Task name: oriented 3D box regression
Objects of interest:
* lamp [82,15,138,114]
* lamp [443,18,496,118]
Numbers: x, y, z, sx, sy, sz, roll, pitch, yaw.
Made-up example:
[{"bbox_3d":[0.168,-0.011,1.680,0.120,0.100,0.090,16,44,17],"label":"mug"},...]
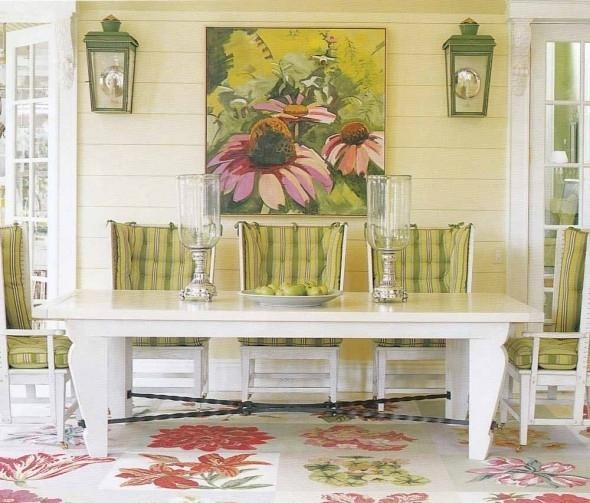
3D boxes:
[{"bbox_3d":[-1.166,-1.284,5.908,0.559,0.606,0.463,-4,14,-24],"label":"lamp"},{"bbox_3d":[1.104,-1.255,5.915,0.592,0.621,0.476,0,15,4],"label":"lamp"}]
